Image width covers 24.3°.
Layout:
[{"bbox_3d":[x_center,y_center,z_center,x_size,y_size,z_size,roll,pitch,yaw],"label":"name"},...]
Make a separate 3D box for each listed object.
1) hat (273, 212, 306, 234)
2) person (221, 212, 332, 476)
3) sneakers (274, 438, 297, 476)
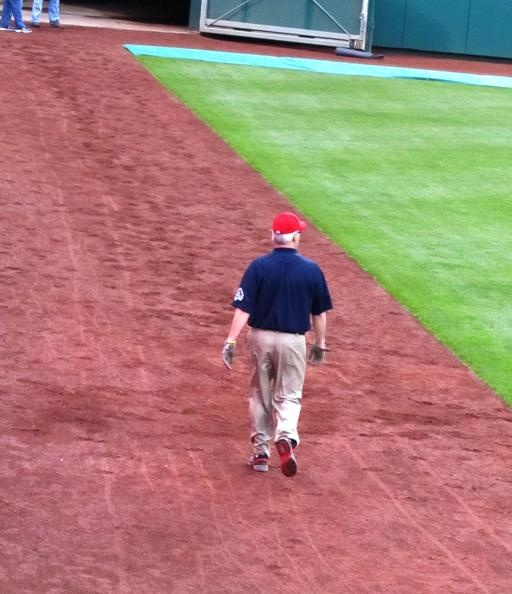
[{"bbox_3d":[0.247,-0.552,9.554,0.210,0.157,0.295,10,25,30],"label":"hat"},{"bbox_3d":[0.146,0.408,9.508,0.659,2.092,0.747,11,14,22],"label":"person"},{"bbox_3d":[0.225,1.235,9.208,0.140,0.311,0.138,-18,0,16],"label":"sneakers"}]
